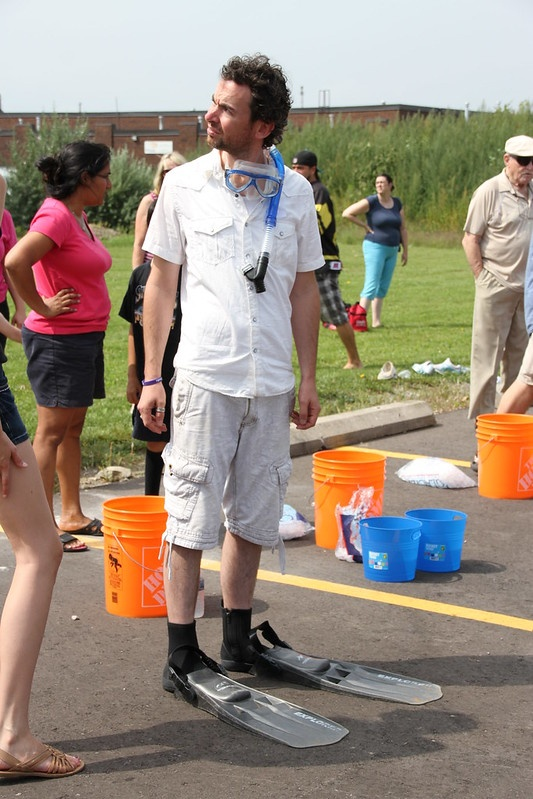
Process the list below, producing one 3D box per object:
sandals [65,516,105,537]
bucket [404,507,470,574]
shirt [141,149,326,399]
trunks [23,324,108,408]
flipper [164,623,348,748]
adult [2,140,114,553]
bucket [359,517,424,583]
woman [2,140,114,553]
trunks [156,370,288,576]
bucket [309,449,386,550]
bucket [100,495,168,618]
[{"bbox_3d":[-1.028,0.692,5.008,0.342,0.087,0.126,-2,1,7],"label":"sandals"},{"bbox_3d":[0.834,0.691,4.556,0.338,0.228,0.294,0,1,33],"label":"bucket"},{"bbox_3d":[-0.089,-0.436,3.111,0.633,0.831,0.382,-3,9,-13],"label":"shirt"},{"bbox_3d":[-0.960,-0.164,4.795,0.410,0.473,0.576,0,3,24],"label":"trunks"},{"bbox_3d":[-0.109,0.863,3.029,0.742,0.266,0.243,12,16,41],"label":"flipper"},{"bbox_3d":[-1.058,-0.266,4.690,0.384,2.111,0.799,3,10,20],"label":"adult"},{"bbox_3d":[0.582,0.730,4.404,0.360,0.238,0.303,-2,-7,14],"label":"bucket"},{"bbox_3d":[-1.059,-0.266,4.690,0.385,2.111,0.799,3,10,20],"label":"woman"},{"bbox_3d":[-0.115,0.220,3.091,0.474,0.622,0.266,-2,9,-10],"label":"trunks"},{"bbox_3d":[0.471,0.547,4.834,0.510,0.492,0.449,6,-2,-6],"label":"bucket"},{"bbox_3d":[-0.485,0.678,3.908,0.390,0.486,0.355,-2,-5,8],"label":"bucket"}]
